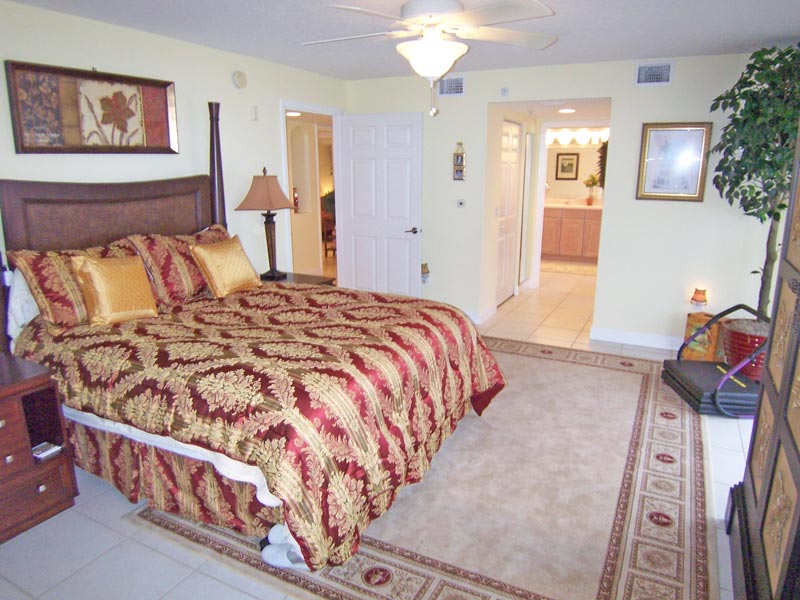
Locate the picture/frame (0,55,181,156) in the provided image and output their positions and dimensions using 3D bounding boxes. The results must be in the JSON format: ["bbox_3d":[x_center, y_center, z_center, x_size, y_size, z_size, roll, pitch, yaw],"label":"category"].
[{"bbox_3d":[-2.198,-1.370,4.133,0.123,0.562,1.115,12,19,42],"label":"picture/frame"}]

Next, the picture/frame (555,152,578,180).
[{"bbox_3d":[3.031,-2.454,10.317,0.458,0.538,0.041,7,14,29],"label":"picture/frame"}]

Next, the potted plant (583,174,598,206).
[{"bbox_3d":[3.376,-1.968,10.038,0.230,0.528,0.392,3,15,17],"label":"potted plant"}]

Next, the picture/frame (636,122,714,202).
[{"bbox_3d":[2.546,-1.291,5.215,0.676,0.815,0.057,8,20,25],"label":"picture/frame"}]
